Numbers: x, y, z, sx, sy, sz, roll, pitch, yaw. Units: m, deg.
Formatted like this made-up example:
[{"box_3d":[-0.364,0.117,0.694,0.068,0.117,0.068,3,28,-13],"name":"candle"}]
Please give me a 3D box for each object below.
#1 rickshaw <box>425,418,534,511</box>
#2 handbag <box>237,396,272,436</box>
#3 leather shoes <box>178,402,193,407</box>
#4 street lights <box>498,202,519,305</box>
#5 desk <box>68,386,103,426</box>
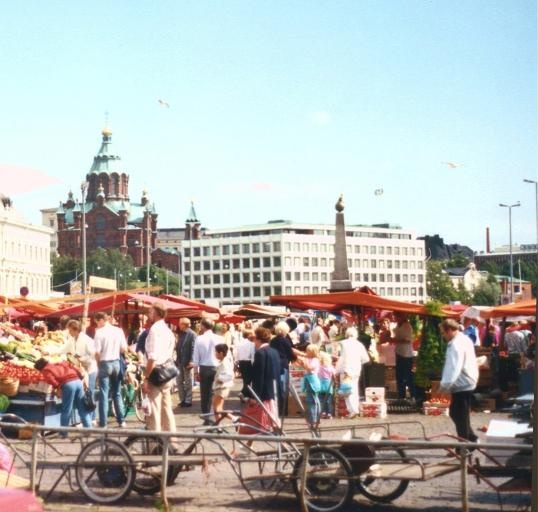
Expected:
[{"box_3d":[2.585,2.470,14.535,0.904,1.304,1.001,-3,-4,14],"name":"rickshaw"},{"box_3d":[-0.201,2.061,15.845,0.421,0.453,0.328,-3,-2,13],"name":"handbag"},{"box_3d":[-1.558,2.783,22.988,0.253,0.117,0.090,4,-6,3],"name":"leather shoes"},{"box_3d":[15.403,1.042,79.431,0.651,7.370,0.944,0,-2,23],"name":"street lights"},{"box_3d":[-2.822,2.315,18.770,0.621,0.868,0.621,2,0,-2],"name":"desk"}]
